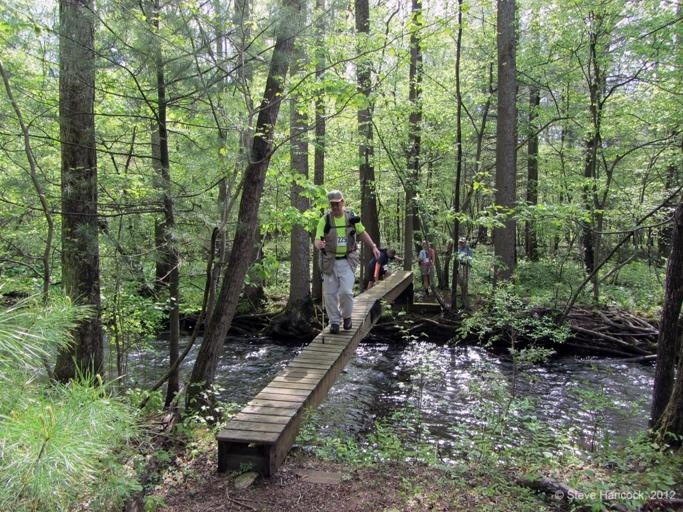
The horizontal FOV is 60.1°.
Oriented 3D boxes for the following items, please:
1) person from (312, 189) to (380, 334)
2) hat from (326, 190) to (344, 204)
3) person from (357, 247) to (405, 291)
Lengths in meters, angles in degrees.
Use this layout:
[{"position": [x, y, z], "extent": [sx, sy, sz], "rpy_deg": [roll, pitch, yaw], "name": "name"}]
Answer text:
[{"position": [0.025, 0.117, 9.320], "extent": [0.858, 2.281, 0.609], "rpy_deg": [0, 7, -3], "name": "person"}, {"position": [-0.084, -0.923, 9.138], "extent": [0.246, 0.196, 0.305], "rpy_deg": [1, 6, 0], "name": "hat"}, {"position": [1.142, 0.332, 14.406], "extent": [0.919, 1.332, 0.728], "rpy_deg": [-1, 34, -21], "name": "person"}]
